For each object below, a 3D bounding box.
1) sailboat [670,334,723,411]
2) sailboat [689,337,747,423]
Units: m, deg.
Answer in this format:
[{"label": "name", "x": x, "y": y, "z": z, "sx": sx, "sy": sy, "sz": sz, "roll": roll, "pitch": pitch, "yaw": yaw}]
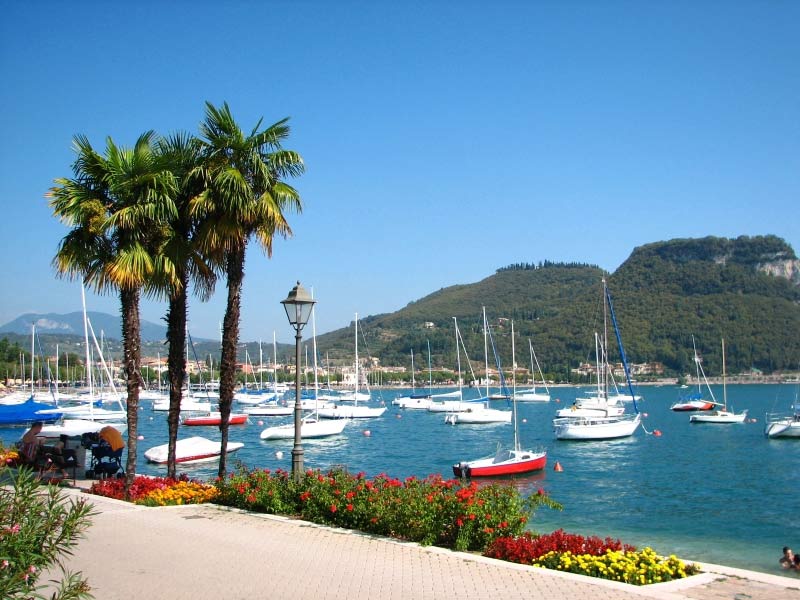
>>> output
[{"label": "sailboat", "x": 51.356, "y": 14.485, "z": 128.301, "sx": 9.227, "sy": 10.320, "sz": 2.612, "roll": 2, "pitch": 2, "yaw": -9}, {"label": "sailboat", "x": 42.979, "y": 10.944, "z": 98.429, "sx": 7.913, "sy": 11.618, "sz": 2.321, "roll": 1, "pitch": -8, "yaw": 2}]
